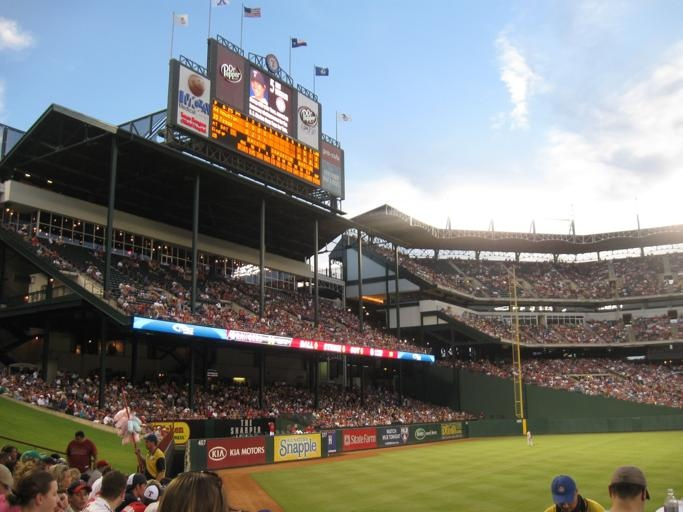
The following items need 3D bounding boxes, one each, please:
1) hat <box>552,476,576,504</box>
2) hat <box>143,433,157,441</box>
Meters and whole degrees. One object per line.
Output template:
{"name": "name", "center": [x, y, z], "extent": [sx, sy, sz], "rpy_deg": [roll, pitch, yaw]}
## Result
{"name": "hat", "center": [6.562, 6.929, 21.038], "extent": [0.559, 0.536, 0.872], "rpy_deg": [-8, 22, 26]}
{"name": "hat", "center": [-6.944, 6.561, 25.884], "extent": [0.345, 0.209, 0.261], "rpy_deg": [9, -13, 8]}
